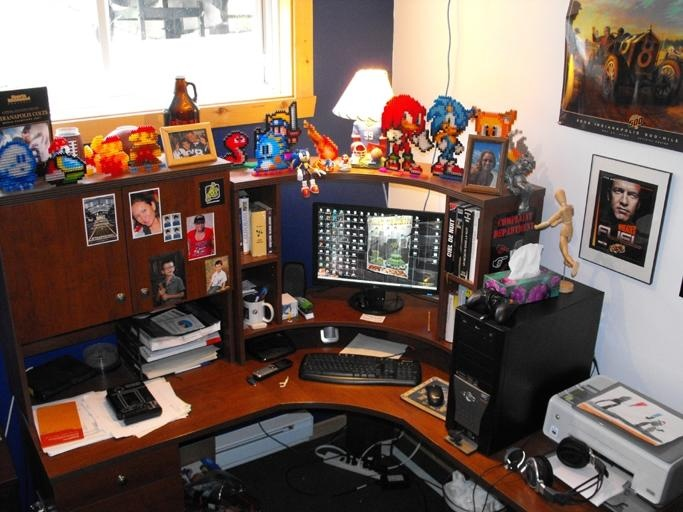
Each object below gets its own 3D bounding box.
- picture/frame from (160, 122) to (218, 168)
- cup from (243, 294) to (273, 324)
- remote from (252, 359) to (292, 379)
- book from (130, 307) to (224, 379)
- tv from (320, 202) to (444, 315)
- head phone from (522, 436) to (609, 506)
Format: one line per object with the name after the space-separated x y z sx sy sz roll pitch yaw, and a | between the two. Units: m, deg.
-0.652 -0.469 2.244 0.203 0.152 0.022 -14 5 -32 | picture/frame
-0.436 0.256 2.674 0.173 0.121 0.101 15 18 32 | cup
-0.340 0.539 2.552 0.169 0.028 0.072 -20 34 -34 | remote
-0.778 0.401 2.492 0.324 0.140 0.333 -16 37 -30 | book
0.203 0.017 2.718 0.528 0.397 0.198 7 22 15 | tv
0.831 0.820 1.969 0.215 0.096 0.247 -25 39 -20 | head phone
